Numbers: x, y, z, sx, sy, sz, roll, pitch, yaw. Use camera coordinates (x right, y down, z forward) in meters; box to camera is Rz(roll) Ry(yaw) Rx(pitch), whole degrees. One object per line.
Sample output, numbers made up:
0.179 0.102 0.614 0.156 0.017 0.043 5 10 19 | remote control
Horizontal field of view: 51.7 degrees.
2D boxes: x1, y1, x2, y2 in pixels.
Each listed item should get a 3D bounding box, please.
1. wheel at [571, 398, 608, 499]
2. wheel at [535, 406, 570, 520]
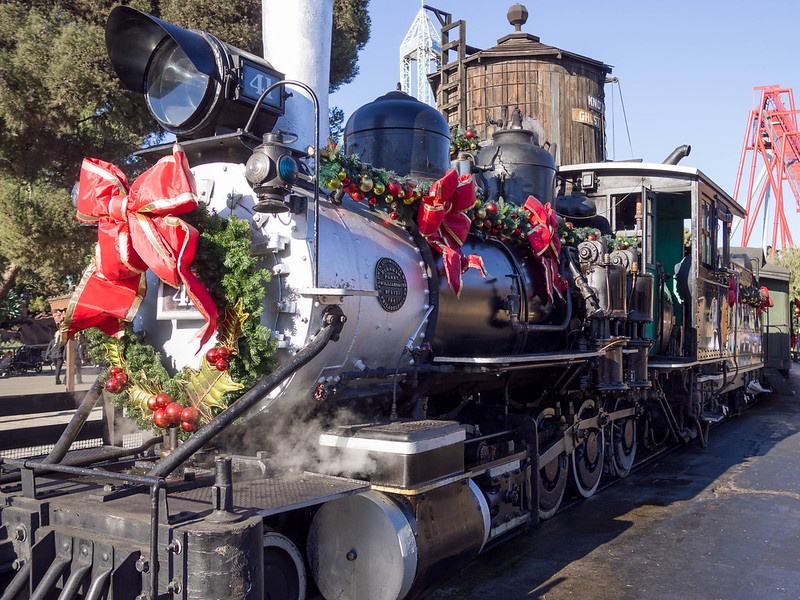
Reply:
2.271 1.800 10.005 0.121 1.311 1.049 0 -5 27 | wheel
1.713 1.896 9.265 0.212 1.017 0.842 1 -6 22 | wheel
